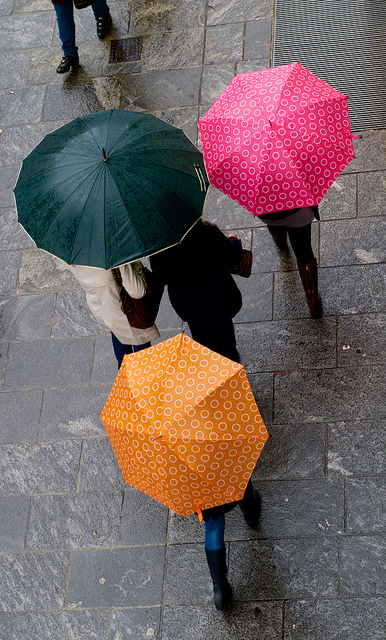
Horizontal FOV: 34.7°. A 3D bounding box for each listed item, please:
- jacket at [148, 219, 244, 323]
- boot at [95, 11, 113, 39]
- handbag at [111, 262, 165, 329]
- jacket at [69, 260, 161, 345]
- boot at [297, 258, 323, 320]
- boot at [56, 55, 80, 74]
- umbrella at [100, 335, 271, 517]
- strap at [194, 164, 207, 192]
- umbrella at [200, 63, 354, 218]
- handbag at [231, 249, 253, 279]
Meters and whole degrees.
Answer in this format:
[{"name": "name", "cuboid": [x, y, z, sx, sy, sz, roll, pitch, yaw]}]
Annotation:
[{"name": "jacket", "cuboid": [0.076, -0.228, 3.285, 0.483, 0.635, 0.234, -31, 51, 0]}, {"name": "boot", "cuboid": [-0.914, -2.957, 6.272, 0.101, 0.124, 0.291, 2, 95, 8]}, {"name": "handbag", "cuboid": [-0.309, -0.129, 3.289, 0.127, 0.317, 0.236, -2, 67, 10]}, {"name": "jacket", "cuboid": [-0.439, -0.079, 3.547, 0.311, 0.727, 0.256, 29, 77, 19]}, {"name": "boot", "cuboid": [0.800, -0.236, 4.149, 0.110, 0.506, 0.241, -2, 57, 22]}, {"name": "boot", "cuboid": [-1.243, -2.508, 6.109, 0.072, 0.106, 0.214, 34, 75, 23]}, {"name": "umbrella", "cuboid": [-0.051, 0.455, 2.605, 0.692, 0.517, 0.606, 28, 70, 34]}, {"name": "strap", "cuboid": [0.037, -0.683, 3.008, 0.022, 0.086, 0.163, -17, 52, 11]}, {"name": "umbrella", "cuboid": [0.424, -0.949, 3.202, 0.762, 0.356, 0.848, -11, 53, 14]}, {"name": "handbag", "cuboid": [0.282, -0.301, 3.383, 0.101, 0.139, 0.155, 7, 85, 23]}]
